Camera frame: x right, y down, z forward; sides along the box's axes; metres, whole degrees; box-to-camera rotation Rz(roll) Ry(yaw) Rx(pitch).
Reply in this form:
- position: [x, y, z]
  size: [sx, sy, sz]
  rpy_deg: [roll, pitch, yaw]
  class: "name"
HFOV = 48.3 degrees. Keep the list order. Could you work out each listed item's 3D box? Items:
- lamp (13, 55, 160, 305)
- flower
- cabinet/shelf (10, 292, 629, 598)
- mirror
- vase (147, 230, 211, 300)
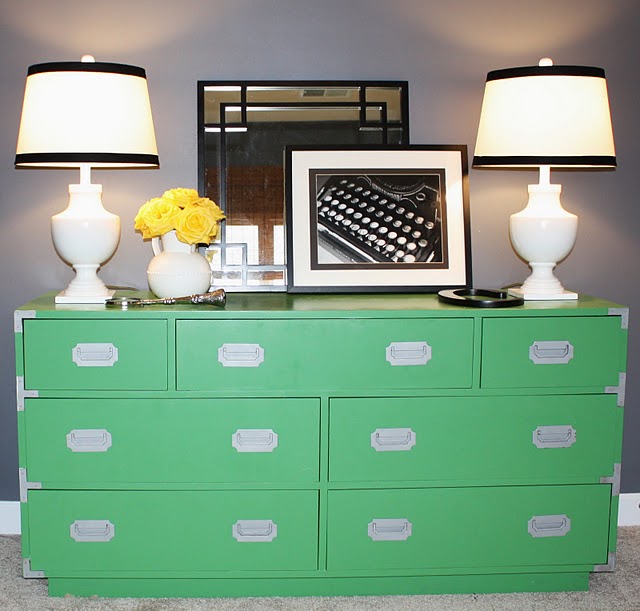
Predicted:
- position: [-0.634, -0.341, 1.955]
  size: [0.362, 0.652, 0.264]
  rpy_deg: [-4, 13, -22]
  class: "lamp"
- position: [-0.356, -0.275, 1.985]
  size: [0.179, 0.109, 0.193]
  rpy_deg: [3, -15, 37]
  class: "flower"
- position: [0.007, 0.424, 2.156]
  size: [1.664, 0.781, 0.541]
  rpy_deg: [0, -1, -5]
  class: "cabinet/shelf"
- position: [-0.056, -0.371, 2.189]
  size: [0.700, 0.649, 0.025]
  rpy_deg: [-1, 3, 3]
  class: "mirror"
- position: [-0.404, -0.120, 2.023]
  size: [0.212, 0.200, 0.173]
  rpy_deg: [3, 8, 2]
  class: "vase"
